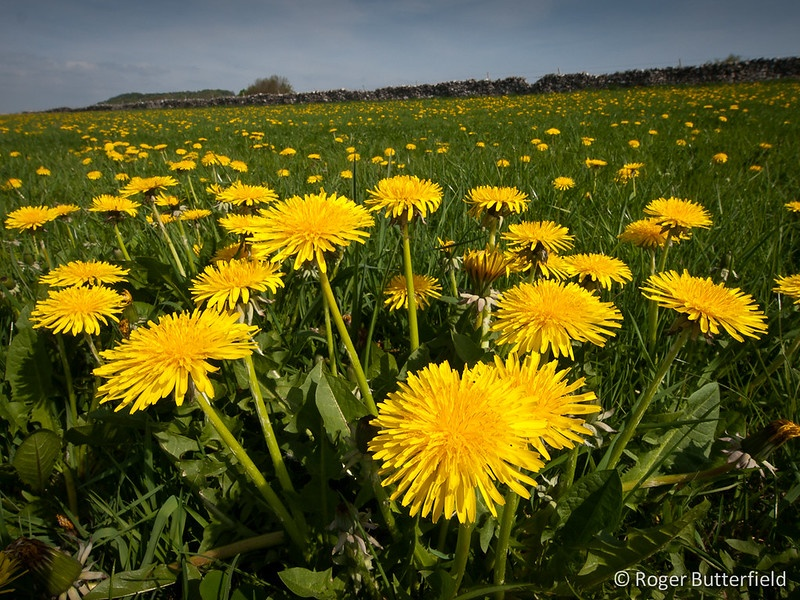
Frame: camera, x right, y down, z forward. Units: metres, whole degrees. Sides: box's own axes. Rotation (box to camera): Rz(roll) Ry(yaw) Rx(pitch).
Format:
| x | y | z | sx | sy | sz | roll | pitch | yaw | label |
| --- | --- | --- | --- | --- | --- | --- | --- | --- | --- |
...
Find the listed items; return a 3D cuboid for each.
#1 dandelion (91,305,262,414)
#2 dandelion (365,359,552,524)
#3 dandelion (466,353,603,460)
| x | y | z | sx | sy | sz | roll | pitch | yaw | label |
| --- | --- | --- | --- | --- | --- | --- | --- | --- | --- |
| -0.677 | 0.182 | 1.645 | 0.461 | 0.232 | 0.430 | -13 | 16 | -18 | dandelion |
| 0.153 | 0.382 | 1.506 | 0.451 | 0.219 | 0.433 | -37 | 68 | -11 | dandelion |
| 0.337 | 0.254 | 1.559 | 0.341 | 0.178 | 0.355 | -8 | 6 | -12 | dandelion |
